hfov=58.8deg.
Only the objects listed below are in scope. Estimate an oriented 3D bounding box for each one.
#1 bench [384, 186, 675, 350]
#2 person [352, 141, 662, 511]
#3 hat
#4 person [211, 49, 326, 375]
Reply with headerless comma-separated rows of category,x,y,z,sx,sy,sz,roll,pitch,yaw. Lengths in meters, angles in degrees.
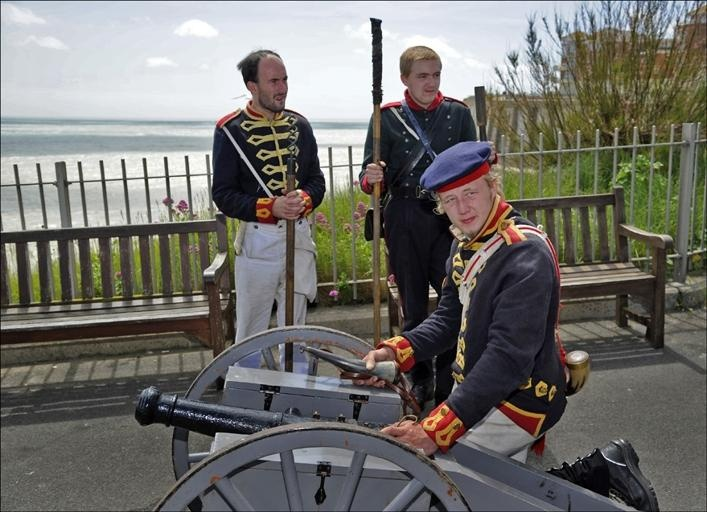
bench,1.276,0.121,4.521,1.369,0.917,0.587,-2,7,-6
person,0.724,0.334,3.212,1.319,1.803,0.750,-4,12,-4
hat,0.547,-0.461,3.135,0.260,0.116,0.294,-12,15,46
person,-0.617,-0.448,4.571,0.802,2.044,0.574,-6,13,-14
